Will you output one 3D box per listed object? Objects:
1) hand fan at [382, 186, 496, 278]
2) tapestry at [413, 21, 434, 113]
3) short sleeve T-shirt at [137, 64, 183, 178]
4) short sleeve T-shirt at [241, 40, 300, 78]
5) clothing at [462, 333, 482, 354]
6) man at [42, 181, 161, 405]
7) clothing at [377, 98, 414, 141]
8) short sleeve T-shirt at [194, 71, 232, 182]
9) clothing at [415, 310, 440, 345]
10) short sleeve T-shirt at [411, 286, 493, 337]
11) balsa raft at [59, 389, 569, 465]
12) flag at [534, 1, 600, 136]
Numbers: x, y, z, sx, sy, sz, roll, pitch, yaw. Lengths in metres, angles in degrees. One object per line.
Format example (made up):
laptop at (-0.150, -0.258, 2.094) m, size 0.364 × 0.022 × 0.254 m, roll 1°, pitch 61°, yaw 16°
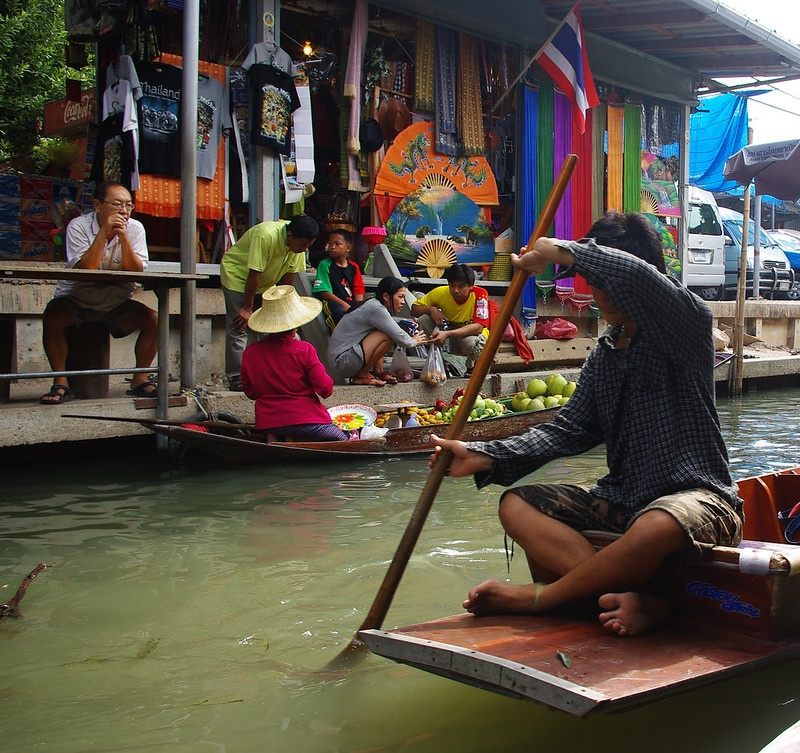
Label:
hand fan at (0.400, -1.670, 9.952) m, size 1.810 × 0.952 × 0.027 m, roll -5°, pitch 8°, yaw -33°
tapestry at (0.293, -3.455, 9.787) m, size 0.125 × 0.935 × 0.313 m, roll 9°, pitch 12°, yaw 34°
short sleeve T-shirt at (-2.103, -2.227, 7.585) m, size 0.132 × 0.951 × 0.414 m, roll 11°, pitch 13°, yaw 38°
short sleeve T-shirt at (-1.194, -2.993, 8.215) m, size 0.166 × 0.296 × 0.567 m, roll 11°, pitch 13°, yaw 43°
clothing at (0.650, -0.301, 8.203) m, size 0.293 × 0.135 × 0.094 m, roll 2°, pitch 28°, yaw -4°
man at (-2.086, -0.581, 6.081) m, size 0.884 × 1.491 × 0.752 m, roll -4°, pitch 12°, yaw -32°
clothing at (-0.064, -2.830, 9.611) m, size 0.118 × 0.398 × 0.489 m, roll 12°, pitch 27°, yaw 44°
short sleeve T-shirt at (-1.744, -2.282, 8.016) m, size 0.199 × 0.954 × 0.393 m, roll 5°, pitch 10°, yaw 12°
clothing at (0.270, -0.461, 8.233) m, size 0.246 × 0.309 × 0.136 m, roll 3°, pitch 3°, yaw 21°
short sleeve T-shirt at (0.512, -0.595, 8.228) m, size 0.745 × 0.392 × 0.418 m, roll 25°, pitch 27°, yaw 25°
balsa raft at (-0.761, 0.354, 5.867) m, size 4.499 × 0.359 × 0.662 m, roll 1°, pitch 3°, yaw -32°
flag at (1.856, -3.269, 9.214) m, size 0.686 × 1.367 × 0.669 m, roll -1°, pitch 10°, yaw -18°
